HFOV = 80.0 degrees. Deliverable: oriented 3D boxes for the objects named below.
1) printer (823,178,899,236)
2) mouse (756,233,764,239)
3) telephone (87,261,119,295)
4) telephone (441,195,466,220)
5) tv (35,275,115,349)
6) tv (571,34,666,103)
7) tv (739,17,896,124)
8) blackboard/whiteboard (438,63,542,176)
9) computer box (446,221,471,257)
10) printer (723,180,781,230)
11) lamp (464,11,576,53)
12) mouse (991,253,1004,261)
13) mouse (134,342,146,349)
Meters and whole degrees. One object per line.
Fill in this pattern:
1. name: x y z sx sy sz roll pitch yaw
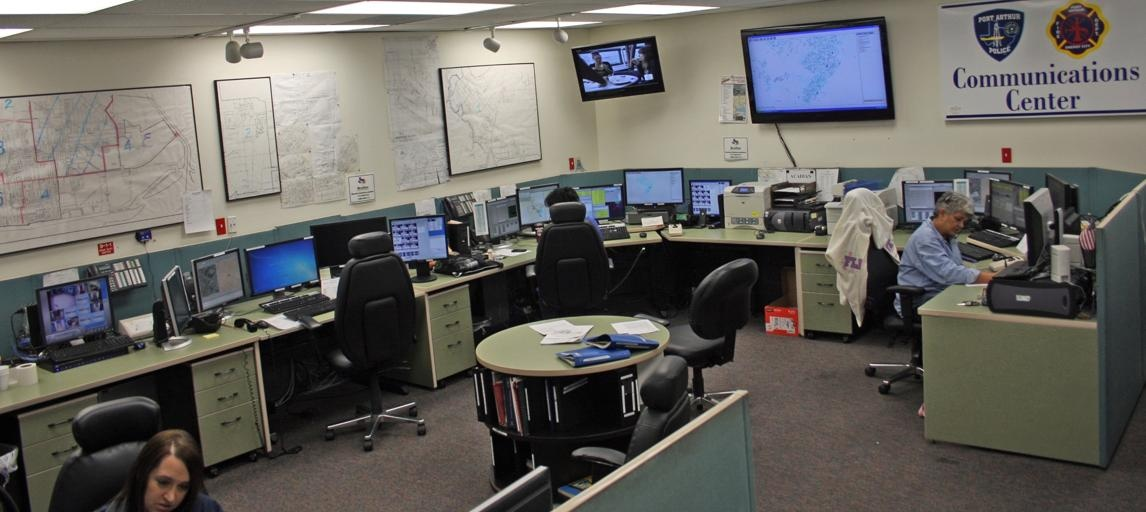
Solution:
1. printer: 3.991 -0.727 9.605 1.125 0.597 0.760 3 11 21
2. mouse: 2.636 -0.304 9.656 0.115 0.055 0.091 0 -1 9
3. telephone: -5.579 0.249 8.136 0.467 0.344 0.165 -9 -12 -27
4. telephone: -1.772 -0.729 10.190 0.411 0.320 0.141 -13 -8 -27
5. tv: -5.569 0.646 7.665 0.960 0.621 0.106 -9 7 -28
6. tv: 0.693 -2.922 10.520 1.563 0.829 0.154 -18 24 -28
7. tv: 3.567 -2.747 10.146 2.740 1.445 0.196 -11 12 -21
8. blackboard/whiteboard: -1.218 -2.176 10.652 2.133 1.582 0.169 6 14 41
9. computer box: -1.677 -0.261 9.710 0.392 0.462 0.326 -2 1 16
10. printer: 2.960 -0.784 10.280 1.055 0.655 0.876 -7 8 -20
11. lamp: -0.688 -3.235 9.909 1.137 0.443 1.511 -5 12 -4
12. mouse: 5.275 -0.003 8.518 0.115 0.041 0.141 1 5 18
13. mouse: -4.918 1.011 7.794 0.107 0.049 0.093 5 6 13
